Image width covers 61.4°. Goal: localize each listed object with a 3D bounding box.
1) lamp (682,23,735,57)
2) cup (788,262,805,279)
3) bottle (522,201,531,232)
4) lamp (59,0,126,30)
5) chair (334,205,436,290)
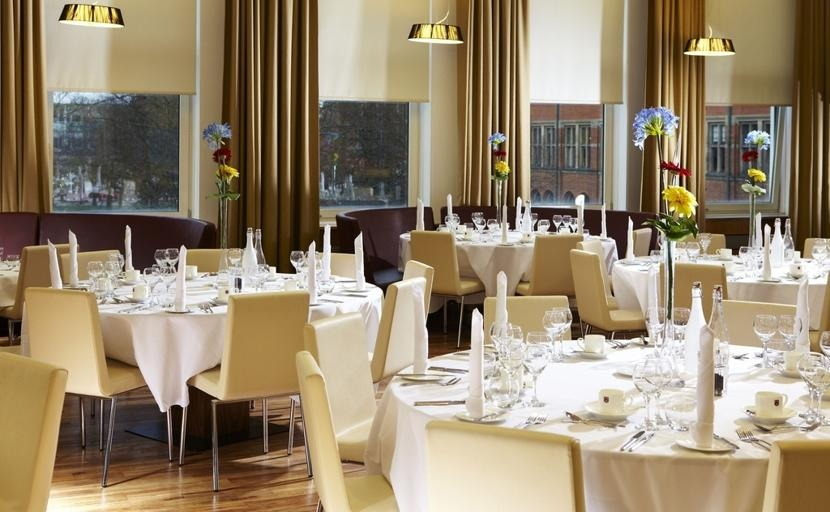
[{"bbox_3d":[3.941,-2.884,9.339,0.608,0.438,1.592,7,14,23],"label":"lamp"},{"bbox_3d":[3.072,0.118,5.621,0.098,0.061,0.108,-1,-3,15],"label":"cup"},{"bbox_3d":[1.296,-0.458,8.103,0.090,0.304,0.341,2,12,7],"label":"bottle"},{"bbox_3d":[-3.480,-2.558,7.438,0.489,0.248,0.537,1,0,-9],"label":"lamp"},{"bbox_3d":[-0.403,-0.242,8.348,1.029,1.204,0.862,-4,0,-36],"label":"chair"}]
